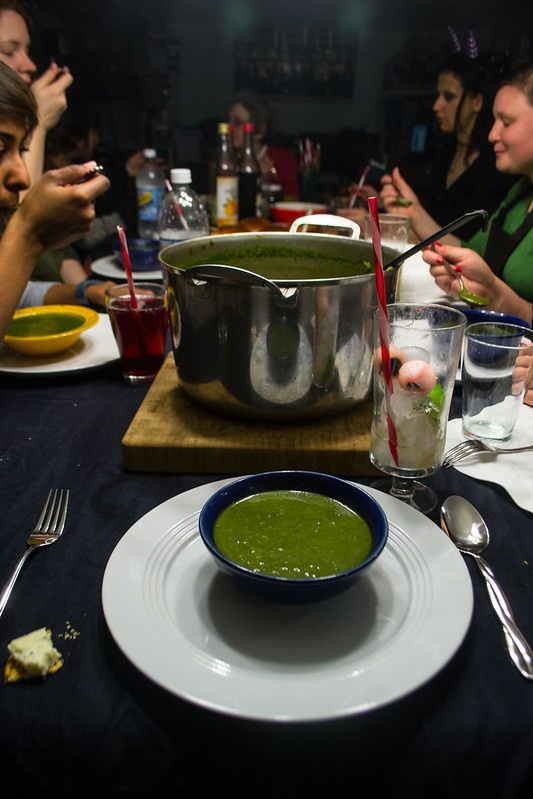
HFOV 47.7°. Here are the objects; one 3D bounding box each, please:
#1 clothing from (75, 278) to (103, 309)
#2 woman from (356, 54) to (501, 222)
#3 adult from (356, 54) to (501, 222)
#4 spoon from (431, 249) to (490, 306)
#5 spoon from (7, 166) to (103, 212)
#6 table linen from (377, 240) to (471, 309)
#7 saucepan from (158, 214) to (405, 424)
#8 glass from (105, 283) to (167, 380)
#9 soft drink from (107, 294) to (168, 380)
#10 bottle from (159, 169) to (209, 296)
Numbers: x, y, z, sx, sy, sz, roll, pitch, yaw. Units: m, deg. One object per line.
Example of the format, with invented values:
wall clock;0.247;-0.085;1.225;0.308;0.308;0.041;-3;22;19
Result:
clothing;-0.426;-0.249;1.442;0.067;0.085;0.030;1;-9;1
woman;0.830;-1.119;2.777;0.513;0.862;0.441;19;39;28
adult;0.811;-1.097;2.768;0.498;0.859;0.474;9;33;15
spoon;0.404;-0.258;1.312;0.053;0.035;0.248;9;30;-16
spoon;-0.330;-0.342;0.983;0.144;0.078;0.092;-11;27;-19
table linen;0.360;-0.315;1.337;0.200;0.067;0.283;-1;28;-1
saucepan;0.012;-0.120;0.863;0.293;0.235;0.442;7;20;10
glass;-0.208;-0.107;1.006;0.105;0.154;0.107;11;17;41
soft drink;-0.210;-0.104;1.002;0.108;0.144;0.096;-6;9;-19
bottle;-0.279;-0.588;1.933;0.160;0.383;0.158;4;60;-7
